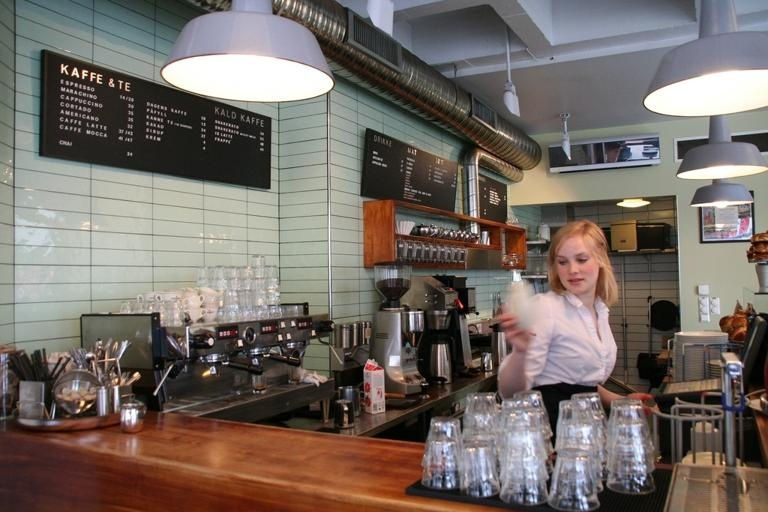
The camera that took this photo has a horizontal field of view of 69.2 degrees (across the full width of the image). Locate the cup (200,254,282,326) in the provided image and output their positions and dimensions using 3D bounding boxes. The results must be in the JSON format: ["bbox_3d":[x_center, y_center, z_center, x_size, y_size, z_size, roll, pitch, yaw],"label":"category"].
[{"bbox_3d":[-0.932,0.237,3.616,0.406,0.353,0.383,-4,0,0],"label":"cup"}]

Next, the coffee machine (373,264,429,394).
[{"bbox_3d":[0.115,0.563,4.449,0.430,1.002,0.513,1,-3,0],"label":"coffee machine"}]

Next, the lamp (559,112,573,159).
[{"bbox_3d":[2.374,-1.566,7.249,0.130,0.214,0.640,-17,-49,4],"label":"lamp"}]

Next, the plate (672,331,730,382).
[{"bbox_3d":[2.506,0.817,4.397,0.354,0.413,0.516,1,-3,14],"label":"plate"}]

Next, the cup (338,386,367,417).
[{"bbox_3d":[-0.206,0.963,3.741,0.168,0.215,0.262,-1,-2,0],"label":"cup"}]

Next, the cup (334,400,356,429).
[{"bbox_3d":[-0.247,1.003,3.529,0.123,0.171,0.082,2,-3,-7],"label":"cup"}]

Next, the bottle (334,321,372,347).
[{"bbox_3d":[-0.252,0.635,4.465,0.291,0.211,0.334,1,-3,-3],"label":"bottle"}]

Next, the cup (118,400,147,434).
[{"bbox_3d":[-1.194,0.781,2.702,0.142,0.126,0.101,3,-12,-12],"label":"cup"}]

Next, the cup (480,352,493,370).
[{"bbox_3d":[0.976,1.005,5.284,0.093,0.163,0.169,1,-3,9],"label":"cup"}]

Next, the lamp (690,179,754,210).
[{"bbox_3d":[2.730,-0.488,4.594,0.410,0.186,0.399,-1,-3,10],"label":"lamp"}]

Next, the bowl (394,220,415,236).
[{"bbox_3d":[0.187,-0.263,5.199,0.142,0.122,0.159,-2,-3,24],"label":"bowl"}]
